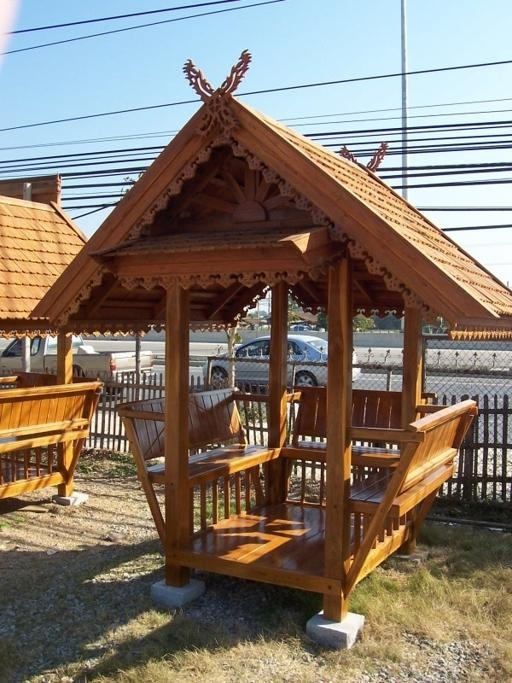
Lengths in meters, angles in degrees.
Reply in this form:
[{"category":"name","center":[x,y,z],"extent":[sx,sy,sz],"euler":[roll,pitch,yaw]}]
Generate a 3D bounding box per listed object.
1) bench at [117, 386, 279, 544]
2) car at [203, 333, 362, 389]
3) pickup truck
[{"category":"bench","center":[-0.548,1.256,7.421],"extent":[0.618,0.990,1.730],"euler":[0,2,25]},{"category":"car","center":[0.714,0.659,20.176],"extent":[4.044,1.267,1.723],"euler":[2,1,10]},{"category":"pickup truck","center":[-4.577,0.535,20.290],"extent":[3.889,1.554,2.030],"euler":[3,3,18]}]
